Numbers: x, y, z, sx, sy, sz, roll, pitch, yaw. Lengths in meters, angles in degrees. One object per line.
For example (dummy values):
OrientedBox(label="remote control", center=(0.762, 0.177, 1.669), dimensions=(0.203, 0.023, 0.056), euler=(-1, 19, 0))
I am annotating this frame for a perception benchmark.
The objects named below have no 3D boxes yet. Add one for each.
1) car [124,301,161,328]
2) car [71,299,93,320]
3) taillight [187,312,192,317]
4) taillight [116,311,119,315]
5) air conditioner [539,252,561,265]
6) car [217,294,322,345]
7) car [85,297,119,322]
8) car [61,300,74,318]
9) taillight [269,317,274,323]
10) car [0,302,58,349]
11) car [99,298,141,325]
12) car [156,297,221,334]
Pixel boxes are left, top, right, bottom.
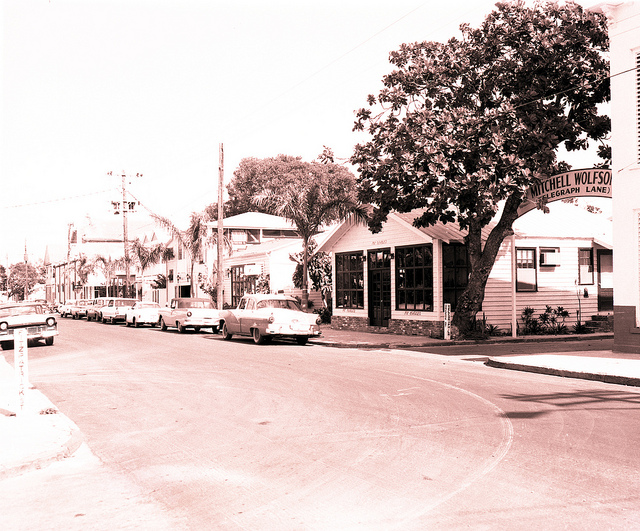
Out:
OrientedBox(label="car", center=(-9.347, 2.515, 39.512), dimensions=(0.960, 0.852, 2.375), euler=(1, 0, -24))
OrientedBox(label="car", center=(-18.027, 3.475, 57.378), dimensions=(1.507, 1.368, 2.760), euler=(0, 1, -29))
OrientedBox(label="taillight", center=(-5.684, 2.157, 32.966), dimensions=(0.184, 0.206, 0.056), euler=(0, -3, -2))
OrientedBox(label="taillight", center=(-11.659, 2.756, 43.492), dimensions=(0.134, 0.153, 0.143), euler=(3, 2, 0))
OrientedBox(label="air conditioner", center=(9.202, -0.276, 30.119), dimensions=(0.936, 0.513, 0.387), euler=(-1, 1, -18))
OrientedBox(label="car", center=(-1.910, 1.842, 26.620), dimensions=(1.636, 1.180, 2.999), euler=(3, -1, -33))
OrientedBox(label="car", center=(-14.526, 3.000, 50.463), dimensions=(1.481, 1.292, 3.463), euler=(1, -5, -25))
OrientedBox(label="car", center=(-21.413, 3.690, 64.359), dimensions=(1.185, 1.136, 2.225), euler=(1, -6, -25))
OrientedBox(label="taillight", center=(-1.612, 1.839, 25.271), dimensions=(0.115, 0.133, 0.117), euler=(2, -2, -19))
OrientedBox(label="car", center=(-9.538, 2.006, 24.683), dimensions=(1.377, 1.083, 2.334), euler=(1, -5, -28))
OrientedBox(label="car", center=(-11.981, 2.696, 44.785), dimensions=(1.391, 1.114, 3.210), euler=(1, 1, -27))
OrientedBox(label="car", center=(-5.949, 2.238, 33.990), dimensions=(1.376, 1.111, 3.128), euler=(2, -5, -26))
